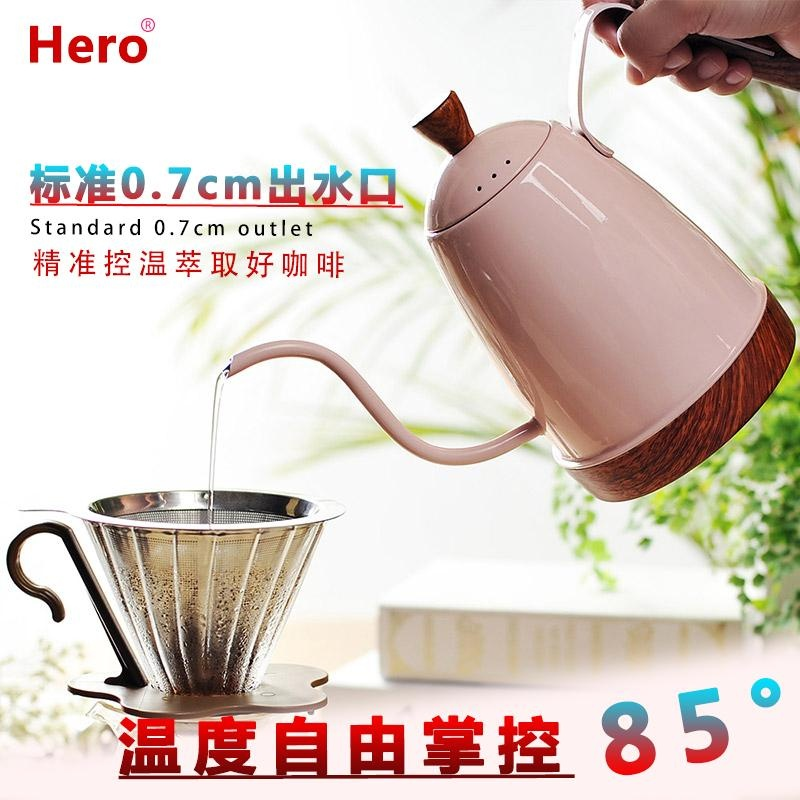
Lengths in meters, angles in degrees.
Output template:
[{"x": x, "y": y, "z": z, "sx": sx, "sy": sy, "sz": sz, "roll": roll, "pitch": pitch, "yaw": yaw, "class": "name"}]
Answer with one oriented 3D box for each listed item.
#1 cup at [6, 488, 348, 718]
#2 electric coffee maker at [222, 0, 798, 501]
[{"x": -0.138, "y": 0.148, "z": 0.706, "sx": 0.263, "sy": 0.126, "sz": 0.173, "roll": -2, "pitch": 7, "yaw": -9, "class": "cup"}, {"x": 0.134, "y": -0.108, "z": 0.609, "sx": 0.225, "sy": 0.246, "sz": 0.125, "roll": -4, "pitch": 2, "yaw": -28, "class": "electric coffee maker"}]
